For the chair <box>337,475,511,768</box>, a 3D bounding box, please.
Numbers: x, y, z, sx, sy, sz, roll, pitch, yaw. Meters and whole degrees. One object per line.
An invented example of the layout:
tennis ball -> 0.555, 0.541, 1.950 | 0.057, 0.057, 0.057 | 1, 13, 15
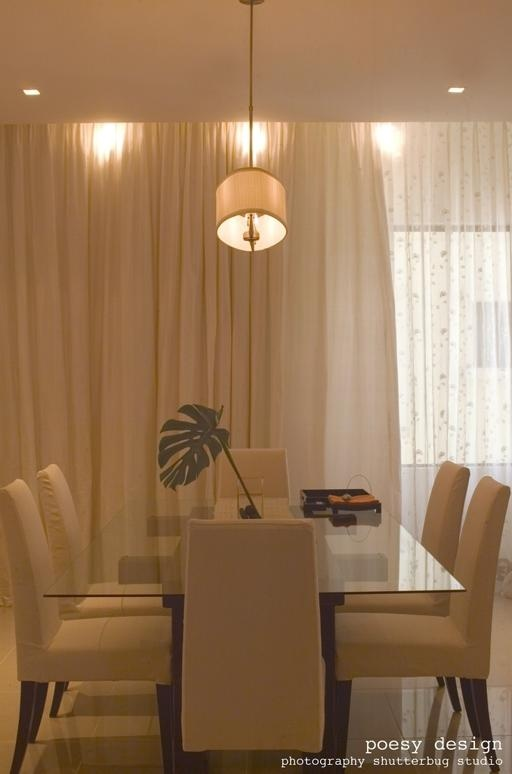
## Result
chair -> 0.606, 0.769, 2.565 | 0.647, 1.362, 0.705 | 2, -7, 3

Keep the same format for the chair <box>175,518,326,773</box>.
chair -> -0.020, 0.508, 1.804 | 0.360, 0.693, 0.488 | -3, 22, -3

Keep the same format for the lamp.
lamp -> -0.016, -0.627, 2.388 | 0.240, 0.264, 0.374 | -2, 9, -1
